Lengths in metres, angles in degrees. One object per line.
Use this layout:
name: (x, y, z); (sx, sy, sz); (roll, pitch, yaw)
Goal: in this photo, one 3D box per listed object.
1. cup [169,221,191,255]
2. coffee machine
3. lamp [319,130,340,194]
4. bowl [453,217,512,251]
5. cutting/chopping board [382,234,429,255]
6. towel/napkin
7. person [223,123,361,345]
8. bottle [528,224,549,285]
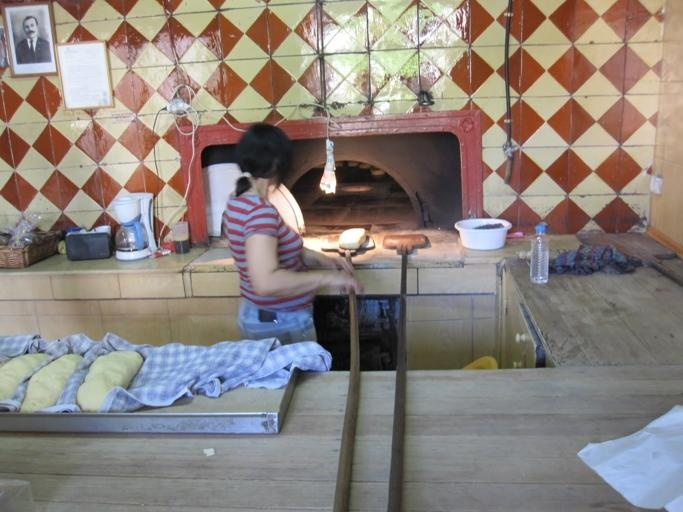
cup: (-0.992, -0.108, 3.607); (0.106, 0.186, 0.108); (0, 8, 0)
coffee machine: (-1.276, -0.183, 3.592); (0.237, 0.372, 0.307); (7, 17, 25)
lamp: (-0.061, -0.507, 3.319); (0.111, 0.303, 0.096); (-3, 29, -9)
bowl: (0.800, -0.121, 3.342); (0.296, 0.166, 0.302); (0, 8, 0)
cutting/chopping board: (0.371, -0.064, 3.350); (0.270, 0.080, 0.288); (1, 8, 6)
towel/napkin: (1.233, 0.025, 2.838); (0.441, 0.127, 0.209); (2, 8, 12)
person: (-0.244, -0.091, 2.819); (0.504, 1.496, 0.525); (-12, 34, -18)
bottle: (0.972, -0.024, 2.862); (0.089, 0.272, 0.375); (3, 8, 18)
